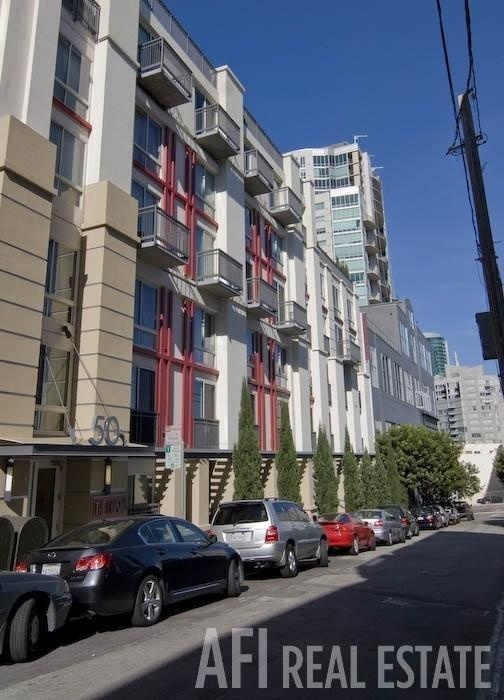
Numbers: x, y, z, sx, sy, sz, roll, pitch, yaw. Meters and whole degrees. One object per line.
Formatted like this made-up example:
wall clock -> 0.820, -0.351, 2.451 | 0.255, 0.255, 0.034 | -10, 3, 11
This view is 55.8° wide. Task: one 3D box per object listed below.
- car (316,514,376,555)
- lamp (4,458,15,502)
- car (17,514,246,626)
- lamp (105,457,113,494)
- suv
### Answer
car -> 3.377, 6.076, 16.443 | 1.341, 1.138, 2.852 | -7, -16, 26
lamp -> -4.507, 2.407, 8.842 | 0.152, 0.730, 0.308 | 4, -13, -25
car -> -1.418, 2.845, 6.752 | 1.210, 1.083, 2.907 | -12, -21, 27
lamp -> -3.624, 3.163, 11.988 | 0.160, 0.823, 0.477 | 2, -13, -14
suv -> 0.563, 4.118, 11.296 | 1.423, 1.404, 3.140 | -8, -16, 25
